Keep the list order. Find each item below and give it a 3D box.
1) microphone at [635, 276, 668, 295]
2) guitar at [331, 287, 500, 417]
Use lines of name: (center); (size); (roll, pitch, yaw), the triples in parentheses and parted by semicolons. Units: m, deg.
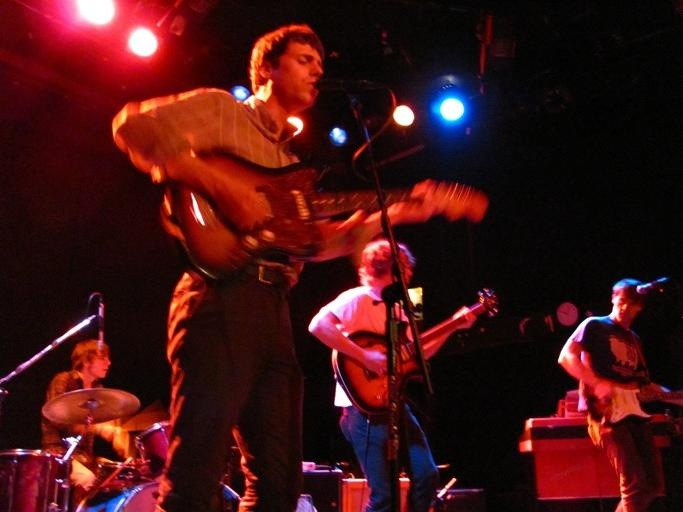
microphone: (3.622, 0.333, 7.572); (0.526, 0.169, 0.140); (-11, 13, -41)
guitar: (0.730, 0.791, 6.237); (0.229, 1.798, 0.785); (-19, -82, 55)
